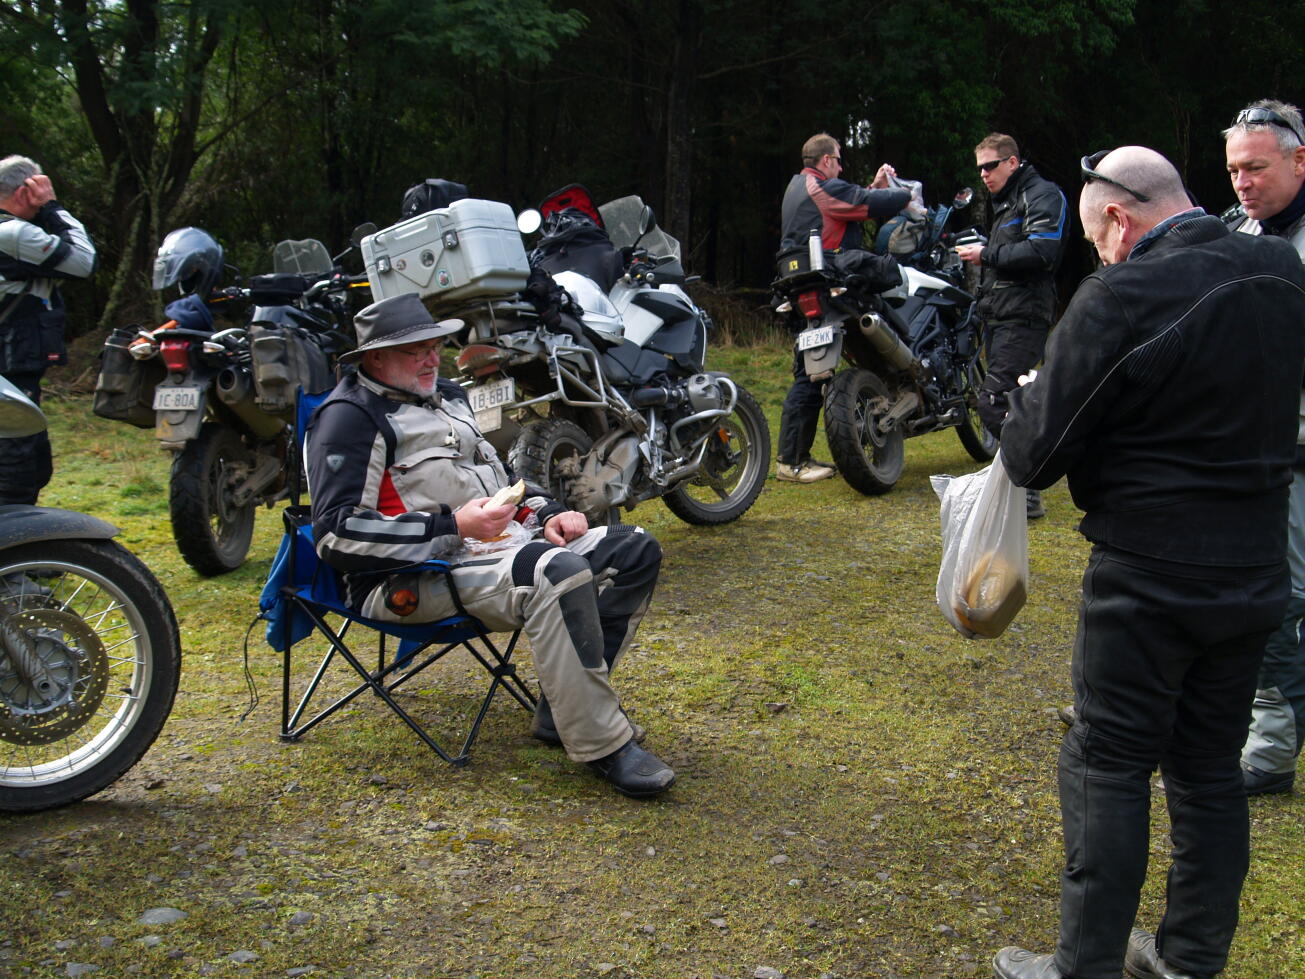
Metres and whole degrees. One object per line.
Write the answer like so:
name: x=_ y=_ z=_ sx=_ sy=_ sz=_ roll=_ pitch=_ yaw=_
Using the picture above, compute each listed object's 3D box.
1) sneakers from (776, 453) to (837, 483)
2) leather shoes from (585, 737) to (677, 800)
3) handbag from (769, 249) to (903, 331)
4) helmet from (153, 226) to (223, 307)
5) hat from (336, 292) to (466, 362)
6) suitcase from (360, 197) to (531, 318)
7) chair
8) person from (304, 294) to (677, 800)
sneakers: x=1.196 y=-0.165 z=9.168 sx=0.447 sy=0.185 sz=0.169 roll=-4 pitch=11 yaw=-4
leather shoes: x=-0.074 y=0.988 z=4.370 sx=0.304 sy=0.120 sz=0.153 roll=4 pitch=17 yaw=43
handbag: x=1.297 y=-1.472 z=8.531 sx=0.854 sy=0.477 sz=0.402 roll=-24 pitch=19 yaw=-34
helmet: x=-2.725 y=-1.293 z=7.021 sx=0.411 sy=0.422 sz=0.371 roll=3 pitch=5 yaw=-37
hat: x=-0.949 y=-0.613 z=4.511 sx=0.287 sy=0.110 sz=0.286 roll=-14 pitch=9 yaw=41
suitcase: x=-0.987 y=-1.174 z=6.143 sx=0.765 sy=0.495 sz=0.581 roll=-18 pitch=8 yaw=31
chair: x=-0.958 y=0.257 z=4.827 sx=1.238 sy=1.435 sz=1.105 roll=1 pitch=4 yaw=-33
person: x=-0.625 y=0.161 z=4.584 sx=1.283 sy=1.770 sz=0.694 roll=0 pitch=11 yaw=10
